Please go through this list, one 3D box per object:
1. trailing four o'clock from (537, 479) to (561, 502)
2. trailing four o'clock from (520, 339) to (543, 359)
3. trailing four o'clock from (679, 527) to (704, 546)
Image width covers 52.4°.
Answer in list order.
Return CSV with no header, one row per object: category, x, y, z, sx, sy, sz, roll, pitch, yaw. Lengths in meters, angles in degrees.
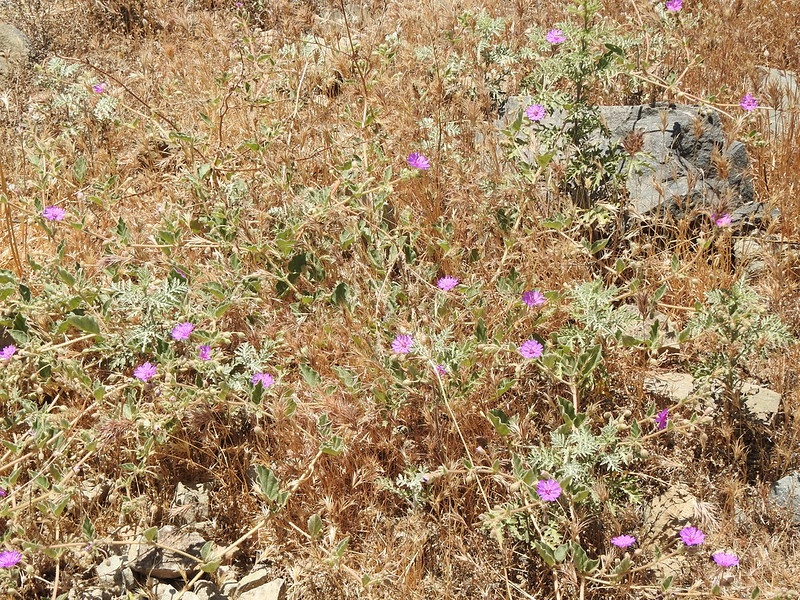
trailing four o'clock,0.726,0.919,3.954,0.115,0.069,0.095,1,62,3
trailing four o'clock,0.692,0.260,4.294,0.092,0.045,0.102,-20,52,-8
trailing four o'clock,1.448,1.158,4.027,0.095,0.046,0.108,15,46,14
